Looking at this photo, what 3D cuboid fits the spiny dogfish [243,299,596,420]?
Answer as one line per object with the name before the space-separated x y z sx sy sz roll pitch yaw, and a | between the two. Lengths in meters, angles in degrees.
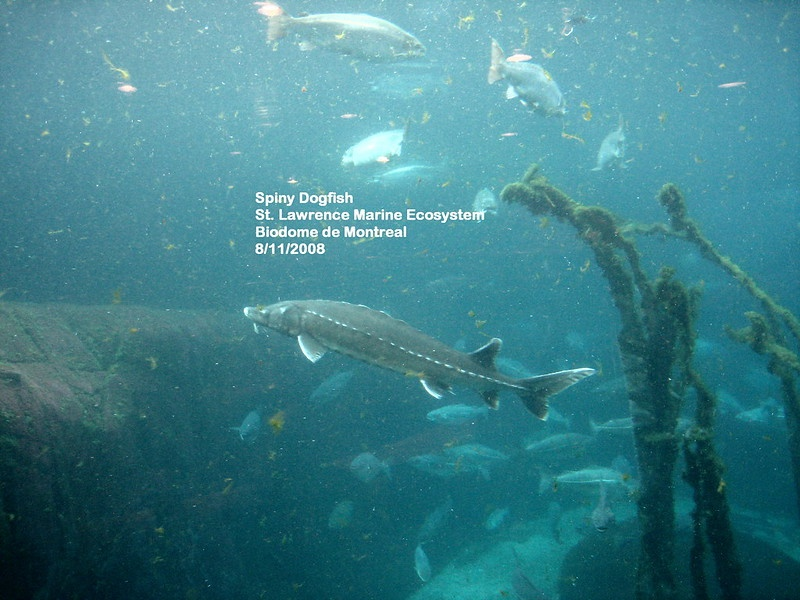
spiny dogfish | 0.116 1.079 14.597 5.607 1.151 1.165 15 -2 3
